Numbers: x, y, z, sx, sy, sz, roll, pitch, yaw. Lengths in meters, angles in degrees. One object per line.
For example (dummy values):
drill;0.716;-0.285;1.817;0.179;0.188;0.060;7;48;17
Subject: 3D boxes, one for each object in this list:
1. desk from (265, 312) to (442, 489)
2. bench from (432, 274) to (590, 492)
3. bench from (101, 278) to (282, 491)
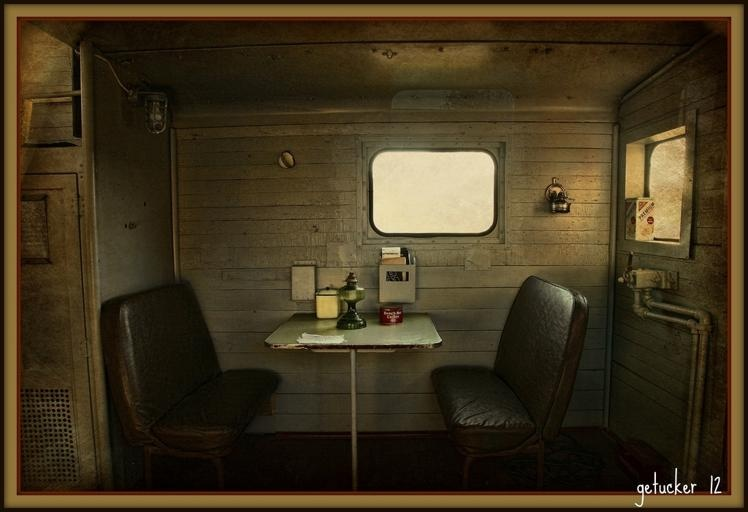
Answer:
desk;-0.107;1.112;5.709;1.487;1.189;1.363;0;5;1
bench;0.988;0.913;5.247;0.962;1.490;0.998;0;6;-2
bench;-1.409;0.981;5.220;0.947;1.470;0.926;2;6;16
